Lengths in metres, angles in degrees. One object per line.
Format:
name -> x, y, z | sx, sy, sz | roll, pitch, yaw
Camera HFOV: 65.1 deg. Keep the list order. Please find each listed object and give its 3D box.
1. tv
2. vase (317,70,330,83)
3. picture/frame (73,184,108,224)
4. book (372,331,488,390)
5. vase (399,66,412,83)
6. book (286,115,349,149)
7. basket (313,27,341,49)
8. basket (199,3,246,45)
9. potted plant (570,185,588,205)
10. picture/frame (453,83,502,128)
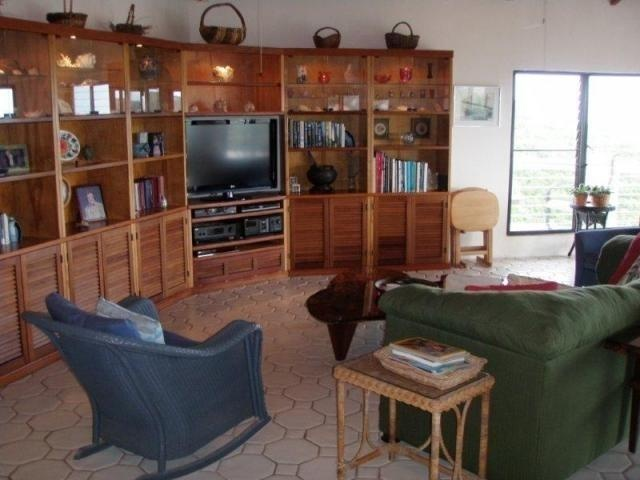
tv -> -1.026, -0.957, 5.687 | 1.233, 0.746, 0.123 | -4, 12, -22
vase -> 0.045, -1.940, 5.954 | 0.131, 0.149, 0.105 | 8, 17, 27
picture/frame -> -2.125, -0.331, 4.612 | 0.043, 0.361, 0.356 | -8, 10, 33
book -> 0.538, 0.512, 2.226 | 0.262, 0.062, 0.274 | -9, 16, -42
vase -> 1.048, -2.029, 6.104 | 0.148, 0.199, 0.169 | 5, 15, 15
book -> -0.016, -1.271, 6.014 | 0.721, 0.335, 0.184 | 1, 15, 0
basket -> 0.081, -2.407, 6.080 | 0.413, 0.197, 0.412 | -4, 25, 1
basket -> -1.091, -2.496, 5.736 | 0.498, 0.590, 0.801 | -1, 14, -7
potted plant -> 3.420, -0.597, 6.679 | 0.290, 0.245, 0.290 | 1, -1, 44
picture/frame -> 2.058, -1.804, 6.614 | 0.737, 0.477, 0.045 | -1, 13, -5
